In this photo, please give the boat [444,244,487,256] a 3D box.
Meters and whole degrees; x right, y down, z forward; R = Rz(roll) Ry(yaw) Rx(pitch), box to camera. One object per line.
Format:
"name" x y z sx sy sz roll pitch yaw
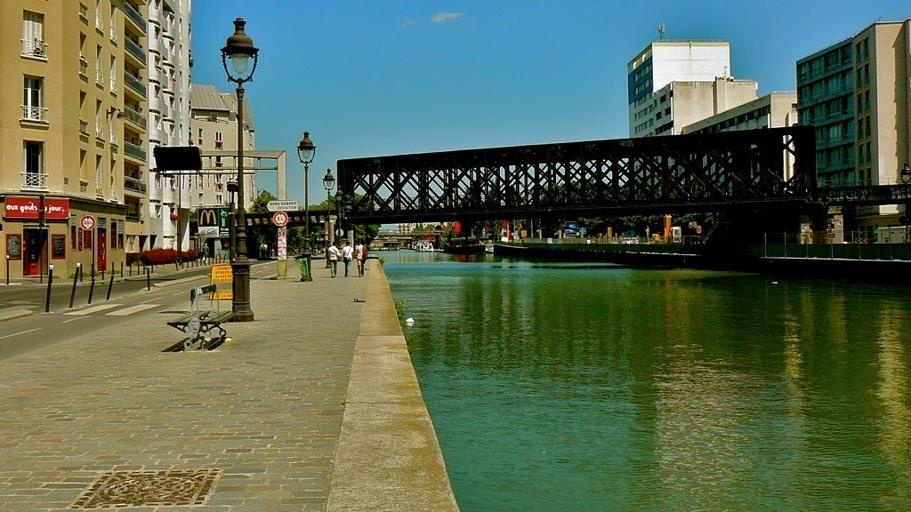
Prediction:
"boat" 2.192 -1.189 190.497 4.200 1.872 29.106 -3 2 -7
